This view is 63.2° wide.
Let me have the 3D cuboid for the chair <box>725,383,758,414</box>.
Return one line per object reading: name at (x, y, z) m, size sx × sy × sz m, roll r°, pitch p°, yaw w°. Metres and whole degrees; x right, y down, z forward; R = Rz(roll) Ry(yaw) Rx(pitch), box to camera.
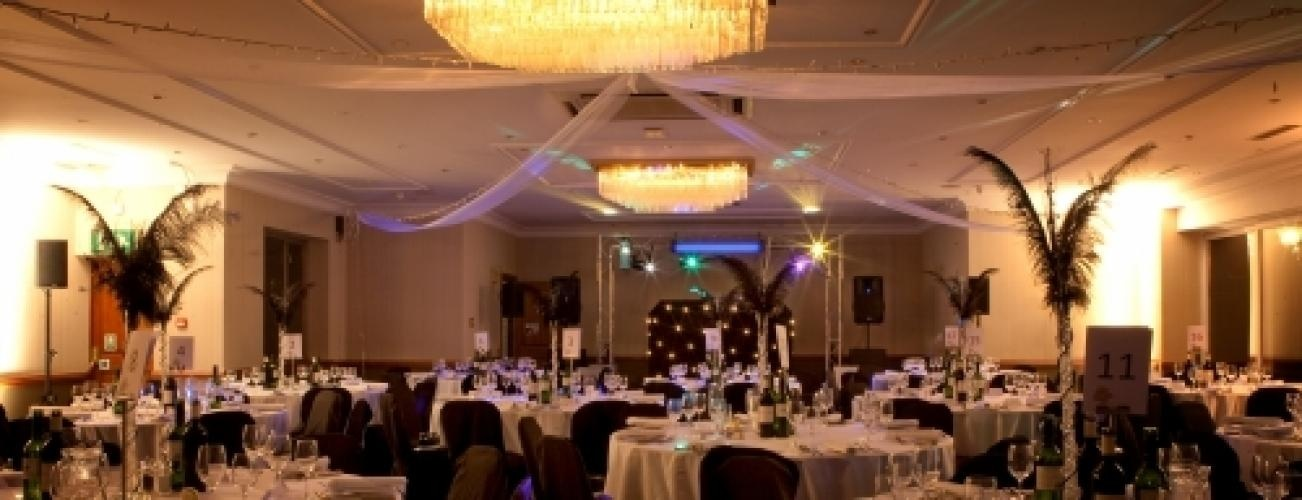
chair at (2.118, 3.569, 25.660) m, size 0.701 × 0.699 × 0.767 m, roll -4°, pitch -12°, yaw 17°
